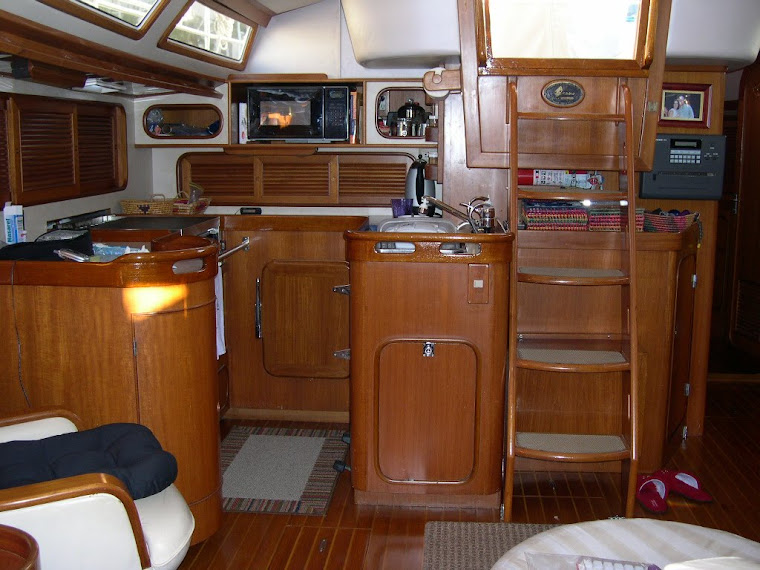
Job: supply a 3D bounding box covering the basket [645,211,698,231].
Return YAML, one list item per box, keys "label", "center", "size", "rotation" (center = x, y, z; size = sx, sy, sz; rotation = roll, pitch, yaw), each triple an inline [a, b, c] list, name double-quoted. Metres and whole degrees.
- label: "basket"
  center: [1.477, -0.329, 3.104]
  size: [0.222, 0.087, 0.327]
  rotation: [7, 14, 28]

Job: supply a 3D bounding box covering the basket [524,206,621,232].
- label: "basket"
  center: [0.945, -0.332, 2.980]
  size: [0.450, 0.118, 0.101]
  rotation: [3, 13, 10]

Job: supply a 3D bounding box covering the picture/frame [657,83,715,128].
- label: "picture/frame"
  center: [1.671, -0.995, 3.312]
  size: [0.325, 0.248, 0.023]
  rotation: [3, 6, 3]

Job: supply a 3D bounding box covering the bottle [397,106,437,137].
- label: "bottle"
  center: [0.253, -1.172, 4.315]
  size: [0.283, 0.251, 0.166]
  rotation: [-2, 13, -12]

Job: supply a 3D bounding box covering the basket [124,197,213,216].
- label: "basket"
  center: [-1.433, -0.526, 4.058]
  size: [0.499, 0.091, 0.283]
  rotation: [-8, 15, -34]

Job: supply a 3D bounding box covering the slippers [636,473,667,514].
- label: "slippers"
  center: [1.263, 0.962, 2.850]
  size: [0.116, 0.085, 0.306]
  rotation: [9, 14, 11]

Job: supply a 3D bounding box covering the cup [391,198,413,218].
- label: "cup"
  center: [0.133, -0.426, 3.354]
  size: [0.139, 0.096, 0.118]
  rotation: [-1, 3, -6]
